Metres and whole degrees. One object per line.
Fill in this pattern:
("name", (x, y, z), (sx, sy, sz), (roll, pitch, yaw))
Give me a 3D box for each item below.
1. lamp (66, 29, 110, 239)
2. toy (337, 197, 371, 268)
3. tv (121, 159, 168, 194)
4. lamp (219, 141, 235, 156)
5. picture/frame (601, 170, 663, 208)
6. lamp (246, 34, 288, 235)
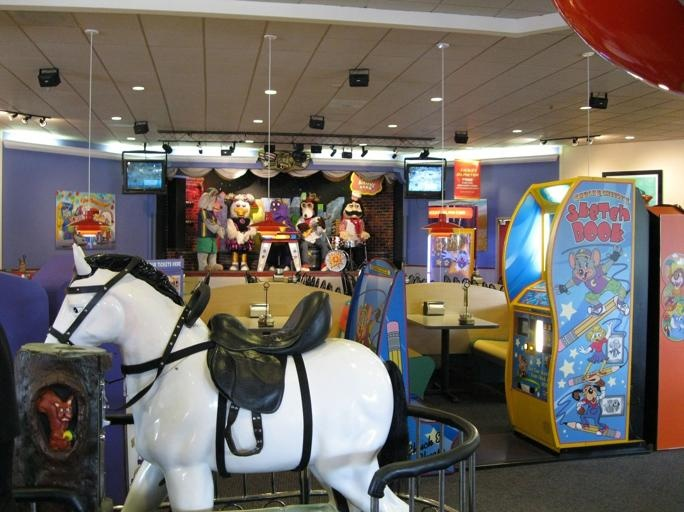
("lamp", (-4.817, -2.098, 11.824), (0.725, 4.581, 0.674), (-7, 6, -36))
("toy", (0.296, -0.525, 14.047), (0.686, 1.822, 0.586), (2, 14, 4))
("tv", (-3.531, -1.348, 11.081), (0.735, 0.671, 0.416), (-1, -17, -14))
("lamp", (-2.227, -2.093, 11.980), (0.189, 0.241, 0.236), (3, -38, -7))
("picture/frame", (5.472, -1.321, 11.359), (1.005, 0.592, 0.522), (17, 9, 35))
("lamp", (-0.671, -1.219, 6.650), (0.357, 2.459, 0.347), (-5, 4, -28))
